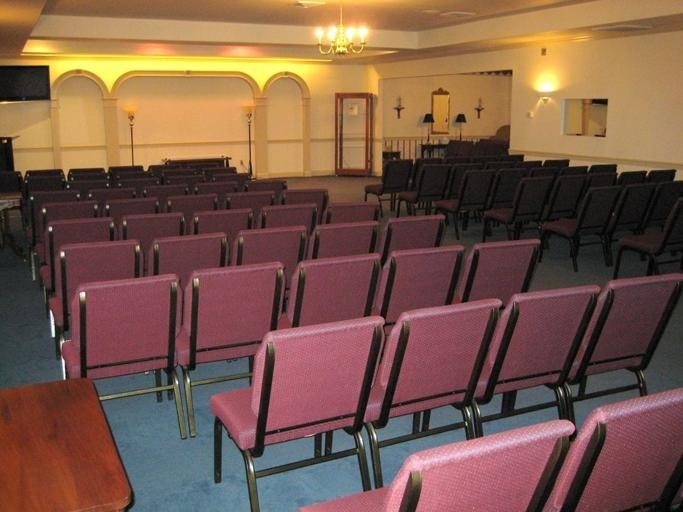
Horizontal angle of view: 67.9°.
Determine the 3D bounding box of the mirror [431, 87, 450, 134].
[{"bbox_3d":[3.669,-5.362,18.973,0.803,1.684,0.231,-7,16,-21],"label":"mirror"}]
